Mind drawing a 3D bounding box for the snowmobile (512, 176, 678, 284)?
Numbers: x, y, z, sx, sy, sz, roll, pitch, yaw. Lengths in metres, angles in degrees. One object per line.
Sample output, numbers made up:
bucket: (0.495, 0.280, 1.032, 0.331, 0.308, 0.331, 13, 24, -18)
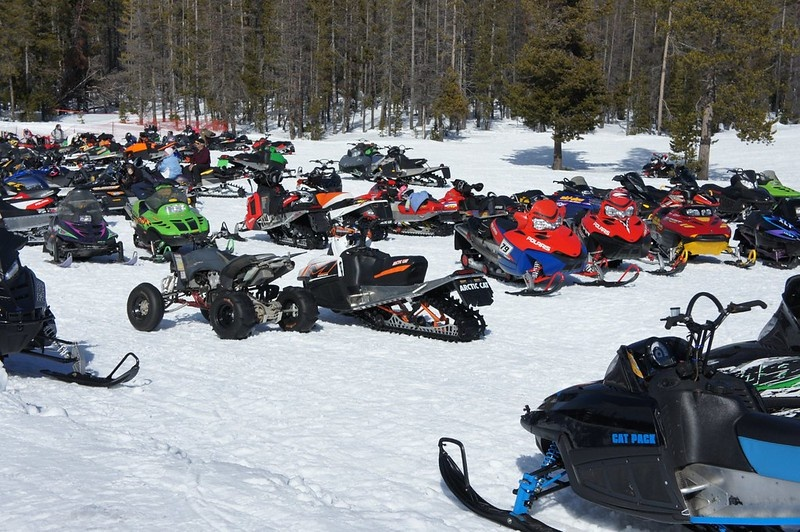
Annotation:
snowmobile: (4.758, -1.285, 20.444, 2.083, 2.068, 4.048, 6, 18, -25)

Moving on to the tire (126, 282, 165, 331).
tire: (-4.433, 0.712, 14.641, 0.852, 0.818, 0.280, -6, -5, 37)

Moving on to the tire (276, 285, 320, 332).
tire: (-1.840, 0.754, 14.926, 0.239, 0.647, 0.706, 0, 19, -43)

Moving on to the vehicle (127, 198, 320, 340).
vehicle: (-3.269, 0.226, 15.259, 3.175, 1.820, 1.917, 6, 9, 37)

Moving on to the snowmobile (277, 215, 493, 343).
snowmobile: (-0.135, 0.244, 15.287, 1.375, 1.649, 4.097, -13, 15, -43)

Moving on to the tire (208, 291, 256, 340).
tire: (-2.893, 0.814, 14.492, 0.795, 0.795, 0.391, 3, 10, 30)

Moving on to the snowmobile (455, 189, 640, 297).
snowmobile: (2.775, -0.553, 18.686, 1.905, 1.576, 4.200, -1, 6, -34)
